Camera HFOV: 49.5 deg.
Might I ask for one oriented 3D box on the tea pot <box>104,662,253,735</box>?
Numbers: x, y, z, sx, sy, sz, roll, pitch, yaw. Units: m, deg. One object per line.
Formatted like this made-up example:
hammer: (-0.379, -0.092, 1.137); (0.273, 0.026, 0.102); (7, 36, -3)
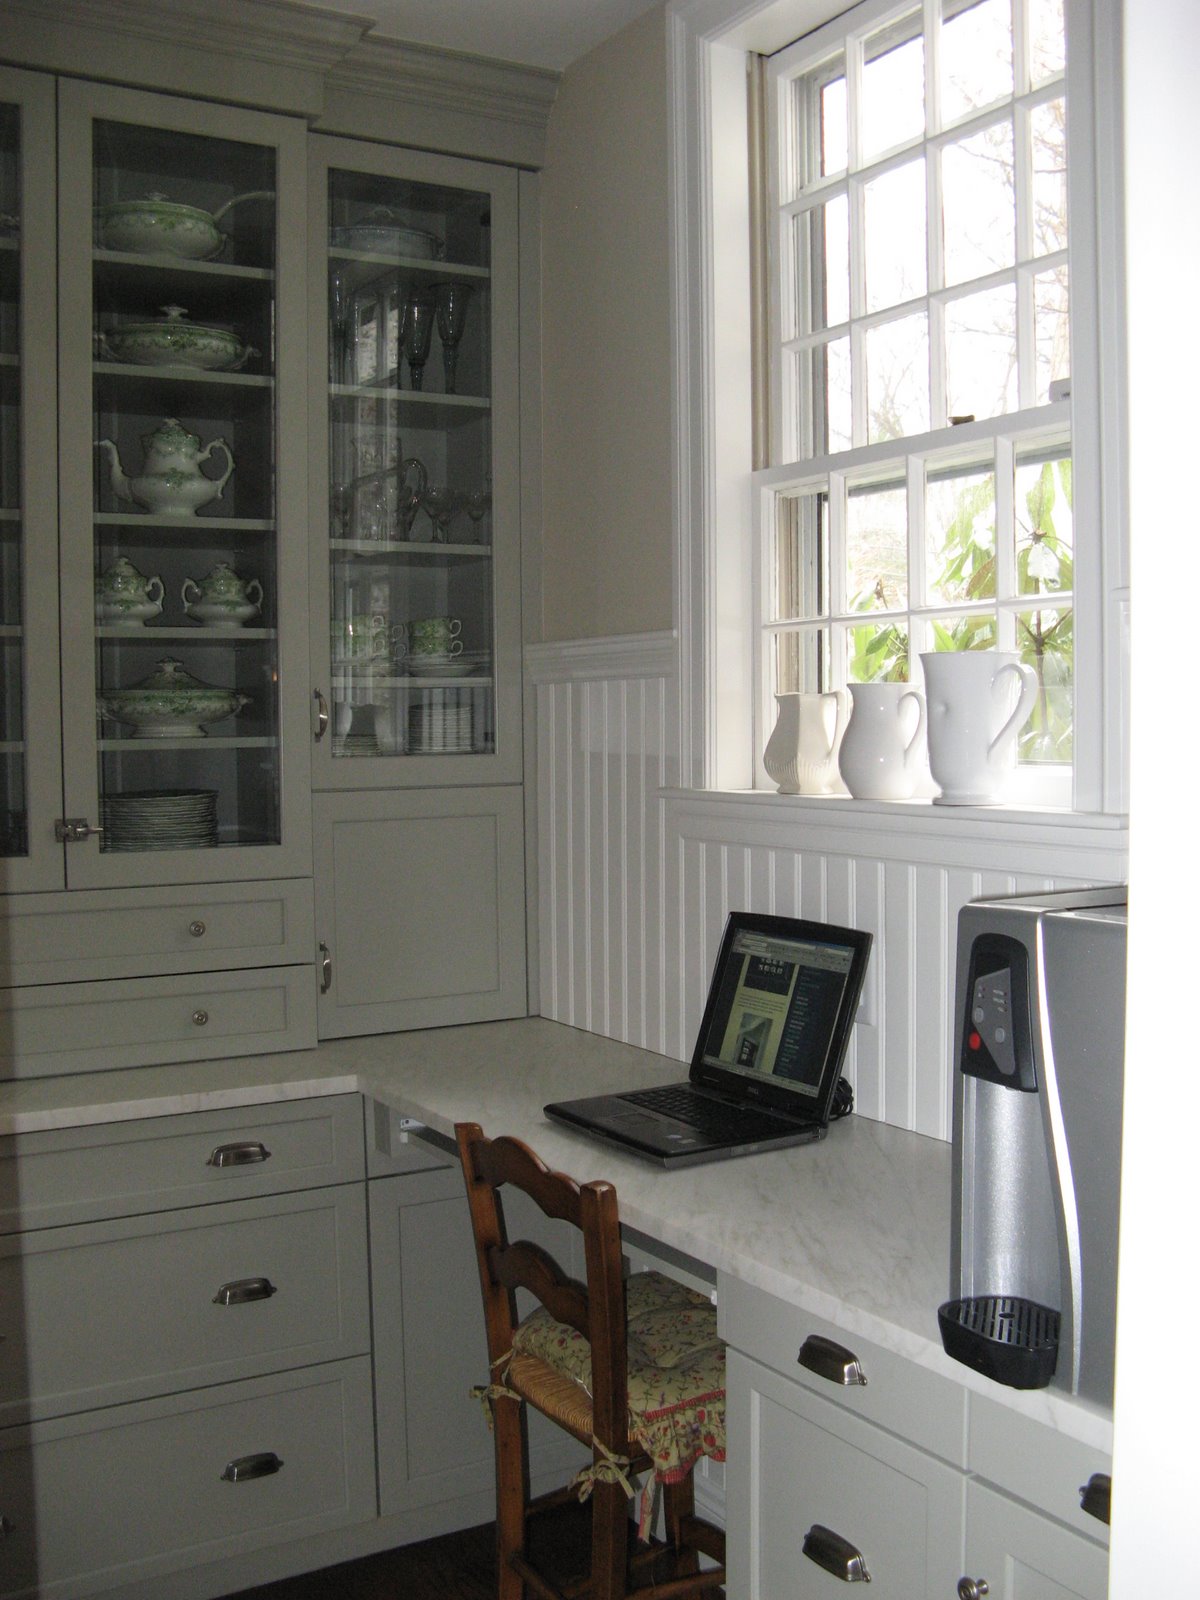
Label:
tea pot: (-0.783, -0.171, 2.401); (0.153, 0.084, 0.138); (-1, -4, -32)

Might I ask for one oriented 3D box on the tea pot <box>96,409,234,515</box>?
tea pot: (-0.790, -0.624, 2.385); (0.189, 0.152, 0.138); (1, 6, -13)

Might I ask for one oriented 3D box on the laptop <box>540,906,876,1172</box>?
laptop: (0.155, 0.334, 1.904); (0.401, 0.288, 0.362); (-4, 7, -35)

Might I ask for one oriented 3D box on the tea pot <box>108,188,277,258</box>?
tea pot: (-0.783, -1.038, 2.372); (0.164, 0.076, 0.126); (3, 20, 0)

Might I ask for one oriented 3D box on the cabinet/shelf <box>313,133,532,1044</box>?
cabinet/shelf: (-0.394, -0.477, 2.677); (0.488, 1.887, 0.217); (0, -4, -21)

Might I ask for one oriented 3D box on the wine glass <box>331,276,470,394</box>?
wine glass: (-0.407, -0.946, 2.650); (0.278, 0.301, 0.156); (-3, 8, -21)

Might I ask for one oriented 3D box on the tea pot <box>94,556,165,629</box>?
tea pot: (-0.858, -0.371, 2.360); (0.089, 0.109, 0.117); (12, 18, 32)

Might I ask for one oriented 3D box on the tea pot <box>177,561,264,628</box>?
tea pot: (-0.712, -0.380, 2.452); (0.132, 0.114, 0.110); (2, 16, 1)
